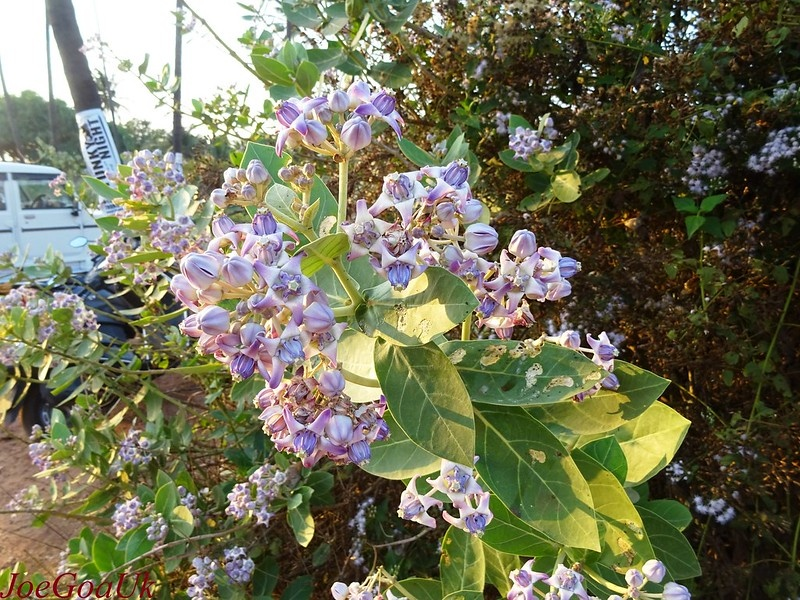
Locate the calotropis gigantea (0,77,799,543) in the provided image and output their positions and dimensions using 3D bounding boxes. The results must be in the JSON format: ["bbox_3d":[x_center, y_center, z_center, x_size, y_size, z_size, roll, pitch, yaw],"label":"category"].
[{"bbox_3d":[-0.161,0.146,2.466,2.424,1.984,1.120,0,16,24],"label":"calotropis gigantea"}]
